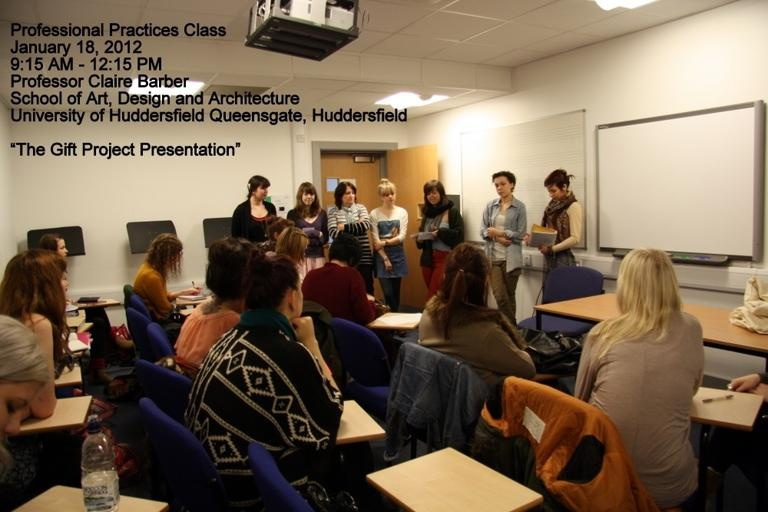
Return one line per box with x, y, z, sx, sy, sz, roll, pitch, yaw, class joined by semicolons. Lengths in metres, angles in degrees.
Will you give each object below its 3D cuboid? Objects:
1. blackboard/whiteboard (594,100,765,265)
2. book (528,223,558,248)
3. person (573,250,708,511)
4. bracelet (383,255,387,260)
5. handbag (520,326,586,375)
2.942;-0.742;4.904;0.198;1.564;1.640;0;1;-44;blackboard/whiteboard
1.781;-0.242;5.625;0.242;0.260;0.097;8;50;10;book
1.397;0.622;2.685;0.626;1.290;0.463;-5;8;-27;person
0.032;0.009;6.471;0.040;0.015;0.055;43;-23;-21;bracelet
1.148;0.634;3.345;0.295;0.112;0.312;1;6;-12;handbag
